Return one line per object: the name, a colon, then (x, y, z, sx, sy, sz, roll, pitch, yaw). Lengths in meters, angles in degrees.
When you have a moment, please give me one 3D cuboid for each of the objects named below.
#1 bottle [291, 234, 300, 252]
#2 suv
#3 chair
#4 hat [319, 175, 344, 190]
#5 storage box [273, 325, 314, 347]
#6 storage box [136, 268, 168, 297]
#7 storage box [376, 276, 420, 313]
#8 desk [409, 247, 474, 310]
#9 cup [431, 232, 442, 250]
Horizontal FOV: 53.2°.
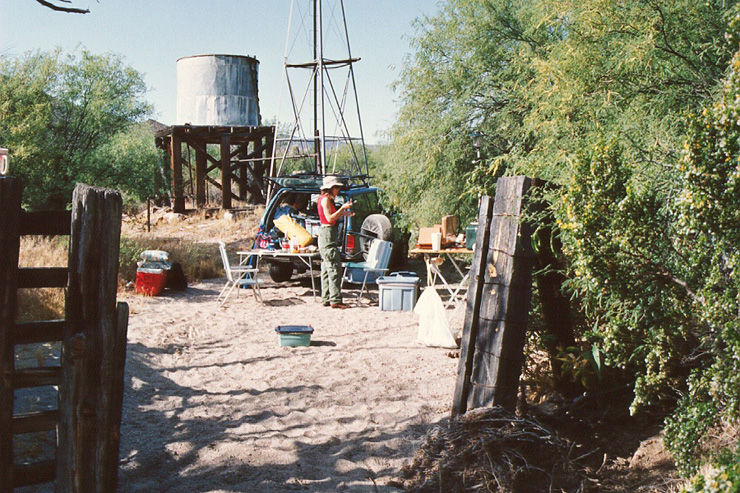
bottle: (-1.410, -0.025, 13.873, 0.231, 0.434, 0.254, -1, -1, -14)
suv: (-0.740, -0.491, 15.969, 1.979, 2.272, 3.491, 0, 12, 18)
chair: (0.038, 0.426, 13.796, 0.971, 1.243, 0.952, -7, 4, -20)
hat: (-0.663, -1.117, 13.021, 0.326, 0.152, 0.388, -4, -4, 17)
storage box: (-1.061, 1.256, 10.322, 0.504, 0.255, 0.395, 0, 10, 8)
storage box: (-4.005, 0.626, 13.571, 0.473, 0.511, 0.470, 4, 4, 42)
storage box: (0.489, 0.788, 12.576, 0.554, 0.460, 0.592, 0, 4, 12)
desk: (1.340, 0.524, 13.115, 1.126, 1.262, 1.211, -1, -3, 2)
cup: (0.961, -0.070, 10.838, 0.142, 0.254, 0.201, 0, 9, 8)
